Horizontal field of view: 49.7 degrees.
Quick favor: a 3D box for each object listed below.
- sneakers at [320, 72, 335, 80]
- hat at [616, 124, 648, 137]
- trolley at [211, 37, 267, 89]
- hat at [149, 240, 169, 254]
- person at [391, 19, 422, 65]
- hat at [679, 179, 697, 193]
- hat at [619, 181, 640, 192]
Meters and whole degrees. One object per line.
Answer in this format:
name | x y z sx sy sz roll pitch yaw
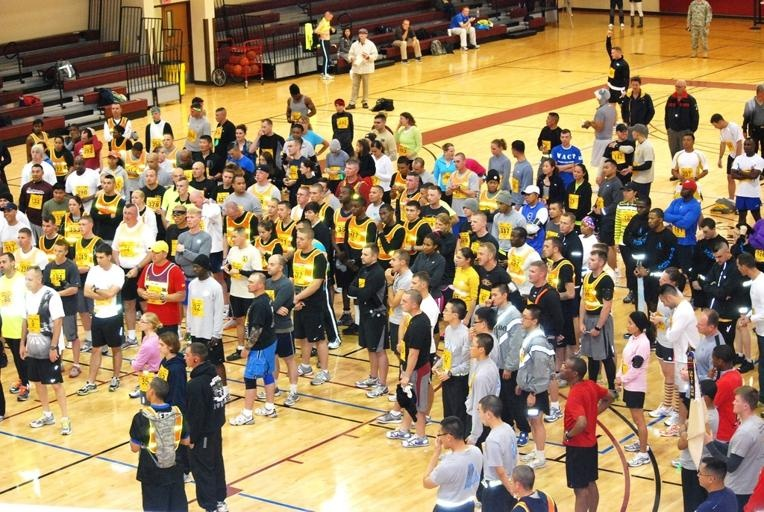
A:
sneakers | -2.237 -7.406 33.810 0.599 0.274 0.247 11 31 26
hat | 5.588 -2.809 18.091 0.837 0.274 0.559 13 14 18
trolley | -5.937 -8.021 34.198 1.877 1.820 1.310 10 22 33
hat | -3.665 -0.143 13.767 0.216 0.164 0.300 12 10 37
person | 1.199 -9.514 36.737 0.851 1.801 1.436 -1 5 35
hat | 5.856 -1.334 15.711 0.271 0.151 0.206 16 35 16
hat | 4.800 -1.285 15.809 0.326 0.172 0.230 16 3 -26
